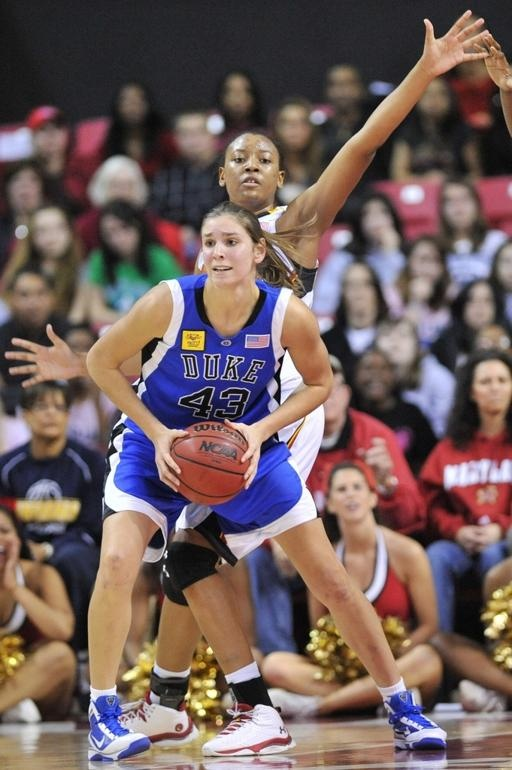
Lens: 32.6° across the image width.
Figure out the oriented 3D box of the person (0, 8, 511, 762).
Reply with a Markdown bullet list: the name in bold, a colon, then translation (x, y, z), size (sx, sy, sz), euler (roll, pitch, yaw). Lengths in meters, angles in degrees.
- **person**: translation (0.111, -0.030, 2.700), size (1.528, 2.003, 0.785), euler (-17, 18, -32)

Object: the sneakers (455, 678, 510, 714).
- **sneakers**: translation (0.852, 1.187, 3.345), size (0.220, 0.070, 0.092), euler (20, 9, 28)

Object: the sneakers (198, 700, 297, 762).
- **sneakers**: translation (-0.024, 0.899, 2.271), size (0.103, 0.122, 0.305), euler (-18, -22, 41)

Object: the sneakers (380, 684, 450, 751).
- **sneakers**: translation (0.400, 0.854, 2.216), size (0.102, 0.162, 0.172), euler (-13, 15, -20)

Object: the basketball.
- **basketball**: translation (-0.108, 0.166, 2.074), size (0.218, 0.199, 0.175), euler (11, 12, -3)
